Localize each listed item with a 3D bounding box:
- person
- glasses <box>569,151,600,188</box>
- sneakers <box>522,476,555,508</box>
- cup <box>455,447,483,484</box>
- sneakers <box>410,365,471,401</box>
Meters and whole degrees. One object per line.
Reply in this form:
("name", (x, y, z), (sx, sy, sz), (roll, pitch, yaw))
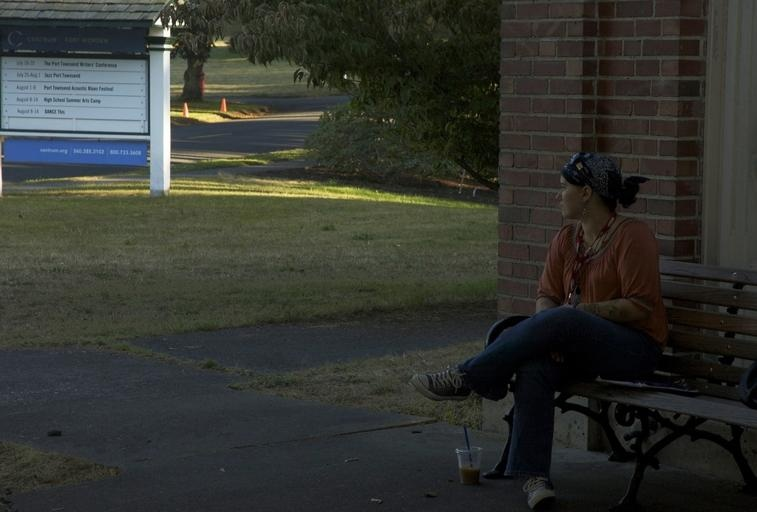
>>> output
("person", (1.198, 0.479, 7.782), (1.343, 2.341, 0.649), (0, 6, -22))
("glasses", (1.342, -0.600, 7.835), (0.167, 0.191, 0.215), (-21, 54, -11))
("sneakers", (1.054, 1.545, 7.732), (0.213, 0.235, 0.266), (3, 7, 8))
("cup", (0.603, 1.455, 8.099), (0.221, 0.232, 0.221), (-1, -6, 0))
("sneakers", (0.411, 0.818, 7.789), (0.400, 0.192, 0.191), (9, 29, -11))
